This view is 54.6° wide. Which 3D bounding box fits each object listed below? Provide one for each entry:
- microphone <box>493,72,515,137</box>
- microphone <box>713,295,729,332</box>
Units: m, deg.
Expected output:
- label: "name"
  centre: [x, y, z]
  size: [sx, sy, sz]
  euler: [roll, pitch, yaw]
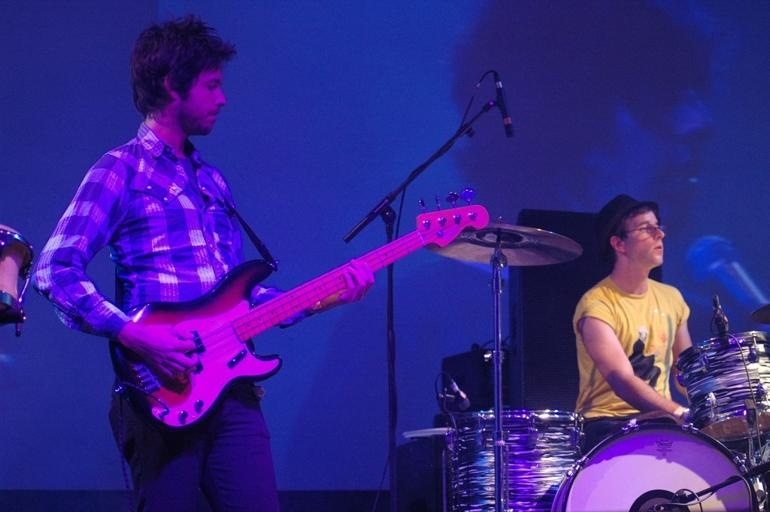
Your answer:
- label: "microphone"
  centre: [0.700, -0.903, 4.460]
  size: [0.060, 0.399, 0.044]
  euler: [-15, 2, -30]
- label: "microphone"
  centre: [2.043, 0.356, 4.543]
  size: [0.080, 0.257, 0.496]
  euler: [-6, -9, 23]
